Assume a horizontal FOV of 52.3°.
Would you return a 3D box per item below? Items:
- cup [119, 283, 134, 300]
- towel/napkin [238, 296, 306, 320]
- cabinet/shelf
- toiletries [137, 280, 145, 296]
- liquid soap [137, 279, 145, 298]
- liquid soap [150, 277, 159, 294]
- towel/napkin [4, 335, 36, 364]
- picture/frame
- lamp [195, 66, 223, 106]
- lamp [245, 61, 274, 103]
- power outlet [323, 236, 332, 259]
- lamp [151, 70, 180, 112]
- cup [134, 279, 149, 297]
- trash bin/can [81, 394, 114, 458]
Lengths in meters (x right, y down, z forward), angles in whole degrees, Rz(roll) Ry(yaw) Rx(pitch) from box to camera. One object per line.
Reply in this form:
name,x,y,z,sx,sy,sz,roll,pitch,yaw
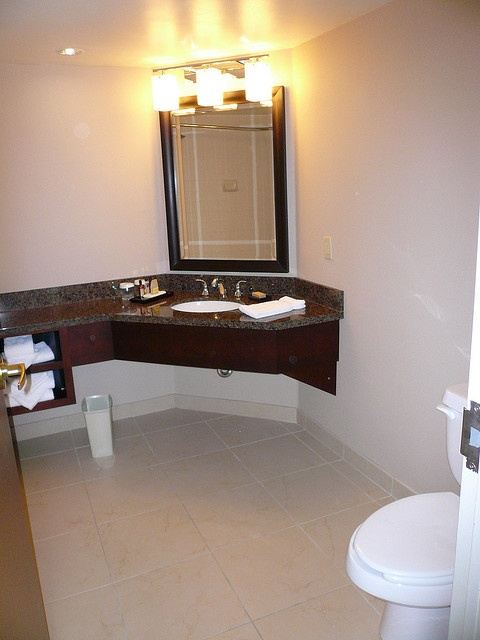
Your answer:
cup,-0.636,-0.162,2.774,0.083,0.093,0.090,0,9,0
towel/napkin,0.172,-0.066,2.364,0.335,0.060,0.197,-8,13,-27
cabinet/shelf,-0.921,0.219,2.407,0.293,0.449,0.133,-6,8,-31
toiletries,-0.556,-0.183,2.754,0.043,0.068,0.193,-7,18,-5
liquid soap,-0.549,-0.175,2.736,0.029,0.093,0.064,-4,11,-12
liquid soap,-0.490,-0.196,2.814,0.045,0.077,0.129,-3,12,-6
towel/napkin,-1.051,0.151,2.337,0.130,0.121,0.243,-7,13,-25
picture/frame,-0.059,-0.802,2.686,0.809,1.180,0.041,9,27,24
lamp,-0.156,-1.177,2.467,0.124,0.177,0.086,-3,11,-4
lamp,0.101,-1.164,2.396,0.145,0.167,0.105,-5,12,-17
power outlet,0.431,-0.352,2.402,0.019,0.113,0.081,-4,11,-13
lamp,-0.387,-1.201,2.557,0.128,0.203,0.148,0,11,10
cup,-0.544,-0.183,2.796,0.078,0.124,0.094,6,5,43
trash bin/can,-0.774,0.583,2.671,0.189,0.355,0.215,-5,23,-14
